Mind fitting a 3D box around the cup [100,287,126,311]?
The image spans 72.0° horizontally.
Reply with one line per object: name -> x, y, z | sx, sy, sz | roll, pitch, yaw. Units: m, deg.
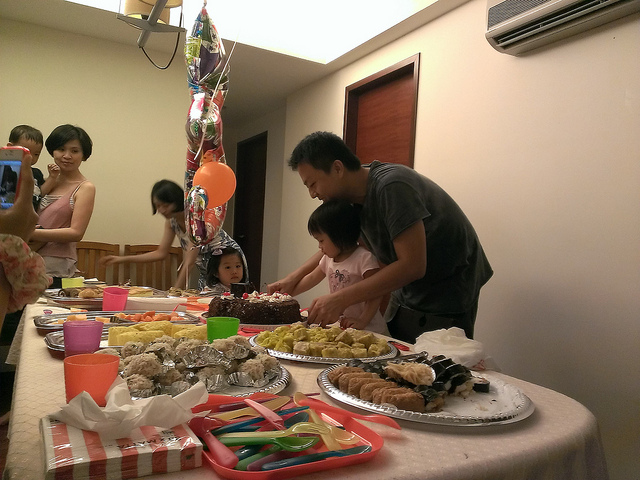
cup -> -0.808, 0.230, 1.726 | 0.060, 0.097, 0.060 | 15, 13, -4

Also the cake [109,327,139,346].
cake -> -0.551, 0.268, 1.247 | 0.042, 0.051, 0.080 | 1, -1, 32

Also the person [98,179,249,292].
person -> -1.097, -0.036, 3.280 | 0.882, 0.787, 1.520 | 2, -1, -29

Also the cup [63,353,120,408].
cup -> -0.448, 0.270, 0.864 | 0.100, 0.108, 0.076 | 1, -1, 31

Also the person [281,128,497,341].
person -> 0.259, -0.021, 2.153 | 1.152, 0.642, 0.815 | 2, -1, -43

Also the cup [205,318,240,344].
cup -> -0.267, 0.243, 1.215 | 0.069, 0.055, 0.071 | 1, -8, 0

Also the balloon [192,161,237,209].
balloon -> -0.387, -0.214, 1.647 | 0.144, 0.183, 0.145 | 0, 5, -26

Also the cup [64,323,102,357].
cup -> -0.594, 0.240, 1.096 | 0.080, 0.092, 0.083 | 3, -3, 0

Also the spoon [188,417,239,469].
spoon -> -0.180, 0.333, 0.733 | 0.032, 0.068, 0.117 | 2, -1, -42

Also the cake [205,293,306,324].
cake -> -0.214, 0.277, 1.779 | 0.443, 0.099, 0.396 | 2, -1, -28

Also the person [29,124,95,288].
person -> -1.692, -0.227, 2.905 | 0.359, 1.190, 0.480 | 2, -1, -34

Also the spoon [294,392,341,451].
spoon -> -0.010, 0.337, 0.805 | 0.034, 0.026, 0.167 | -2, 22, -24

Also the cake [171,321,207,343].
cake -> -0.367, 0.256, 1.252 | 0.069, 0.025, 0.064 | 3, 9, 4
